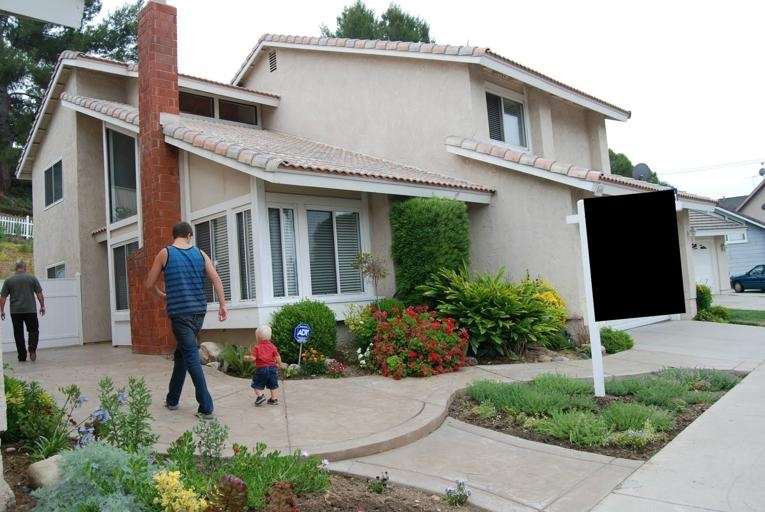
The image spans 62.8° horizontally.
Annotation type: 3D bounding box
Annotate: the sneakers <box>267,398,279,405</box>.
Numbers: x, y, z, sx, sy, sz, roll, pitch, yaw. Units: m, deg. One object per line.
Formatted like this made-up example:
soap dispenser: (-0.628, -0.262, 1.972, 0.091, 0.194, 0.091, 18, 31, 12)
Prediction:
sneakers: (-1.805, 2.402, 10.403, 0.086, 0.073, 0.186, 3, -3, -33)

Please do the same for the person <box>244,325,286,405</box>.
person: (-1.992, 1.830, 10.615, 0.511, 1.288, 0.564, -2, -5, -2)

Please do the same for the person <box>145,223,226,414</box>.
person: (-3.120, 0.972, 10.034, 1.151, 3.142, 0.575, -3, -5, 8)

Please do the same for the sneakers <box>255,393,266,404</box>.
sneakers: (-2.024, 2.371, 10.416, 0.180, 0.181, 0.261, -3, -5, 1)

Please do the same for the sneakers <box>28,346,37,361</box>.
sneakers: (-8.078, 2.247, 14.439, 0.153, 0.379, 0.156, -3, 3, -15)
